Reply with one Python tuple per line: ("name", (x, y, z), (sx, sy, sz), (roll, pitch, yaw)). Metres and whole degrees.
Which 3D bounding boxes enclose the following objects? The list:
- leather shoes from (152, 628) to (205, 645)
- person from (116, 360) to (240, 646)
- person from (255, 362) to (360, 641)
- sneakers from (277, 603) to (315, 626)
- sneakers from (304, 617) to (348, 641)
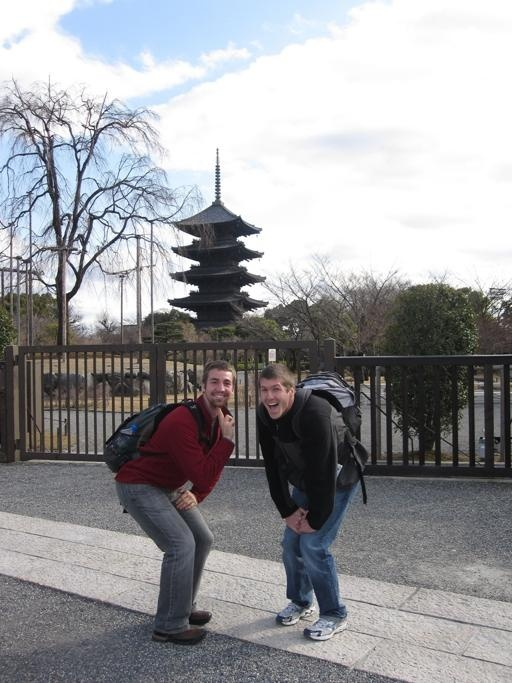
("leather shoes", (-0.355, 1.373, 3.046), (0.254, 0.062, 0.125), (-1, -1, -9))
("person", (-0.376, 0.753, 3.137), (0.585, 1.302, 0.368), (-1, -1, -13))
("person", (0.256, 0.749, 3.157), (0.553, 1.290, 0.550), (-2, -1, 9))
("sneakers", (0.194, 1.360, 3.275), (0.185, 0.084, 0.073), (-1, -6, -33))
("sneakers", (0.329, 1.354, 3.094), (0.194, 0.088, 0.072), (5, -4, -32))
